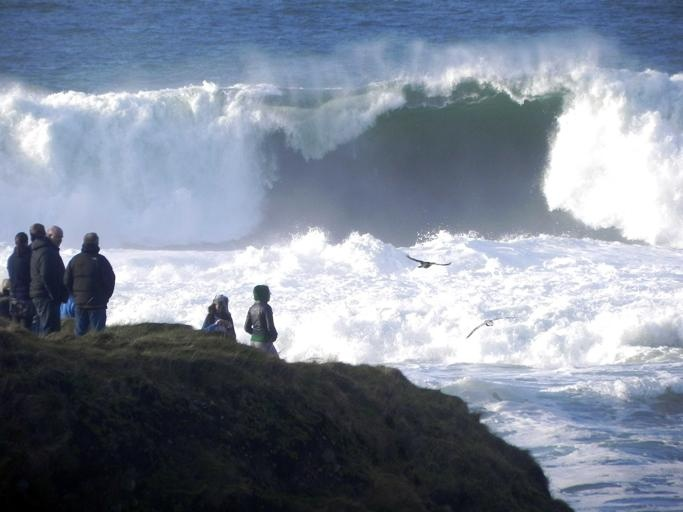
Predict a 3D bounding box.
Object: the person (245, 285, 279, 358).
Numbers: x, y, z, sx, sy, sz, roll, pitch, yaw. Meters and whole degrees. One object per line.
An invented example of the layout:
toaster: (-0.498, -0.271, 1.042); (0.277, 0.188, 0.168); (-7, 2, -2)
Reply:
person: (-2.578, 2.029, 46.021); (0.970, 2.079, 0.522); (0, 5, -1)

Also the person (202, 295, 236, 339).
person: (-3.893, 2.003, 45.798); (0.998, 1.502, 0.934); (1, 8, -22)

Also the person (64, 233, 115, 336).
person: (-8.017, 0.906, 45.688); (1.493, 3.198, 0.644); (-1, 5, -11)
